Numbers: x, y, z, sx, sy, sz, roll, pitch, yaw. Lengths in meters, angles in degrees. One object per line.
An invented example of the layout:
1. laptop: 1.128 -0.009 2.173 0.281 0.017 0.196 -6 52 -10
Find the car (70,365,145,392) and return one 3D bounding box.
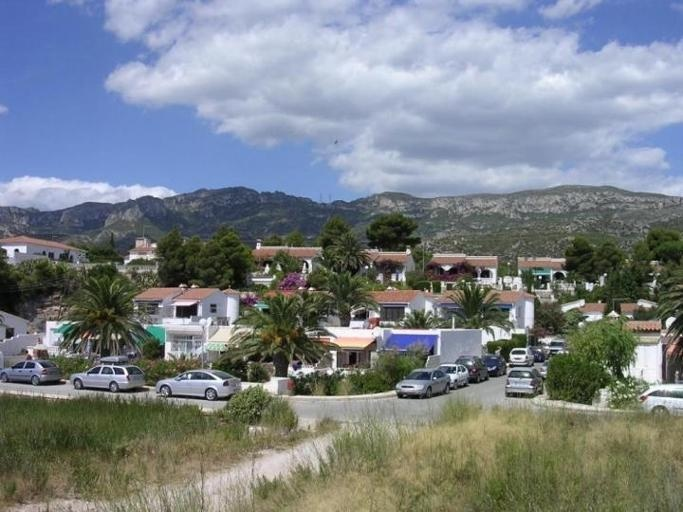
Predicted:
1. car: -13.321 7.032 46.771 3.852 1.471 1.431 0 2 18
